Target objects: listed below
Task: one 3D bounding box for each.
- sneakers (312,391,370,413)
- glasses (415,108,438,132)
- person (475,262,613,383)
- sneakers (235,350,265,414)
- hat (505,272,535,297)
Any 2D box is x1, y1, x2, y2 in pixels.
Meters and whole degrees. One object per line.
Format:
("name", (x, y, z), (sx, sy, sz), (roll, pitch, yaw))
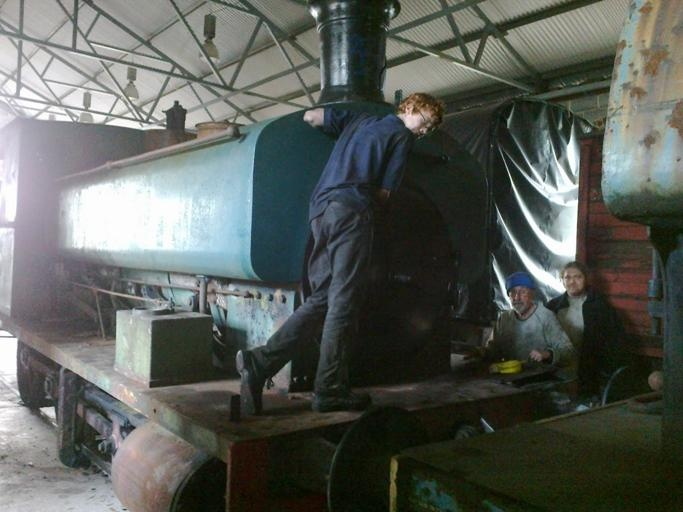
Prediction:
("sneakers", (0.007, 0.862, 3.546), (0.355, 0.161, 0.130), (-3, -2, -1))
("glasses", (0.546, -0.859, 3.744), (0.111, 0.118, 0.037), (20, -33, -36))
("person", (1.823, 0.604, 5.090), (1.194, 1.055, 0.714), (-4, 2, -38))
("sneakers", (-0.552, 0.746, 3.565), (0.168, 0.392, 0.127), (-3, -6, 2))
("hat", (1.519, 0.225, 5.079), (0.240, 0.187, 0.247), (4, -9, 9))
